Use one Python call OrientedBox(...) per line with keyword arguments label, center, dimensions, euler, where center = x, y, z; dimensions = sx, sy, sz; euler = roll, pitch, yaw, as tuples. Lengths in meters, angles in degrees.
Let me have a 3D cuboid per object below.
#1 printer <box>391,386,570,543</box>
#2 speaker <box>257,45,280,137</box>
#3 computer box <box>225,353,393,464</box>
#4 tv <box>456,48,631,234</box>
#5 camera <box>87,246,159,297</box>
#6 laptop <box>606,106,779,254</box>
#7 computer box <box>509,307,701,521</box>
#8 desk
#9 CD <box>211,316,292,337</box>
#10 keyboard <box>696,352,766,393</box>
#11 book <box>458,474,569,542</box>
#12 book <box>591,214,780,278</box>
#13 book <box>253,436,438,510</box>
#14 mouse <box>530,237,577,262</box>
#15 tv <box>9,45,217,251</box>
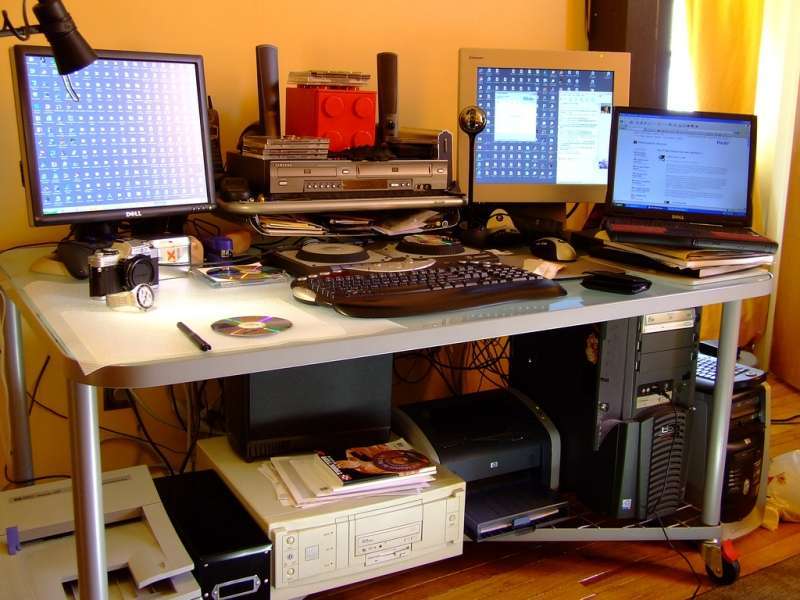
OrientedBox(label="printer", center=(0.239, 0.500, 1.992), dimensions=(0.430, 0.267, 0.541), euler=(-6, 18, -16))
OrientedBox(label="speaker", center=(-0.373, -0.593, 1.860), dimensions=(0.069, 0.277, 0.028), euler=(2, 35, -2))
OrientedBox(label="computer box", center=(-0.200, 0.352, 1.806), dimensions=(0.425, 0.209, 0.330), euler=(-4, 48, -1))
OrientedBox(label="tv", center=(0.440, -0.508, 1.994), dimensions=(0.643, 0.652, 0.331), euler=(0, 9, -5))
OrientedBox(label="camera", center=(-0.617, -0.075, 1.446), dimensions=(0.087, 0.111, 0.171), euler=(11, 19, 16))
OrientedBox(label="laptop", center=(0.794, -0.332, 1.762), dimensions=(0.422, 0.347, 0.276), euler=(4, 16, 7))
OrientedBox(label="computer box", center=(0.640, 0.325, 2.051), dimensions=(0.443, 0.642, 0.512), euler=(-7, 11, -39))
OrientedBox(label="desk", center=(-0.110, 0.137, 1.581), dimensions=(1.465, 0.499, 0.629), euler=(-12, 20, -21))
OrientedBox(label="CD", center=(-0.291, 0.051, 1.267), dimensions=(0.153, 0.021, 0.112), euler=(-7, 18, -9))
OrientedBox(label="keyboard", center=(1.036, 0.242, 2.061), dimensions=(0.141, 0.031, 0.247), euler=(-8, 16, -22))
OrientedBox(label="book", center=(0.337, 0.607, 1.884), dimensions=(0.275, 0.051, 0.237), euler=(-11, 7, -17))
OrientedBox(label="book", center=(0.795, -0.137, 1.736), dimensions=(0.271, 0.057, 0.253), euler=(-2, 18, -20))
OrientedBox(label="book", center=(-0.130, 0.442, 1.626), dimensions=(0.208, 0.045, 0.192), euler=(-7, 11, -30))
OrientedBox(label="mouse", center=(0.435, -0.147, 1.806), dimensions=(0.066, 0.036, 0.106), euler=(-13, 20, -38))
OrientedBox(label="tv", center=(-0.717, -0.384, 1.611), dimensions=(0.597, 0.493, 0.139), euler=(-9, 15, -41))
